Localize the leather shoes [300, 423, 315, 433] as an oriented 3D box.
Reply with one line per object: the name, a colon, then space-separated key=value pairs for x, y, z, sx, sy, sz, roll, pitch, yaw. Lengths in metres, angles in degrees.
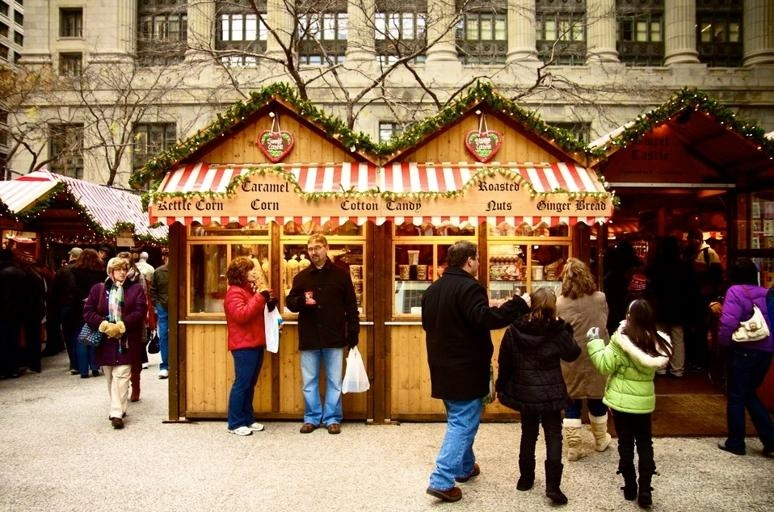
leather shoes: x=-1.841 y=4.025 z=21.732 sx=0.384 sy=0.222 sz=0.163 roll=-1 pitch=-1 yaw=-6

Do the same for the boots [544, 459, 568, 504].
boots: x=3.798 y=4.850 z=19.912 sx=0.471 sy=1.018 sz=0.222 roll=-1 pitch=-2 yaw=2

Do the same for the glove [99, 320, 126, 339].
glove: x=-6.556 y=1.713 z=21.709 sx=0.630 sy=0.411 sz=0.153 roll=-1 pitch=-1 yaw=-18

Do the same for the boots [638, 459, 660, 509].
boots: x=5.842 y=4.904 z=19.963 sx=0.560 sy=1.034 sz=0.341 roll=0 pitch=-2 yaw=-42

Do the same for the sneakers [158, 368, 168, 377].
sneakers: x=-6.075 y=3.123 z=24.819 sx=0.223 sy=0.264 sz=0.627 roll=-1 pitch=-7 yaw=-12

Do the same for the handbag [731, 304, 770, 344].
handbag: x=8.467 y=1.543 z=20.903 sx=0.592 sy=0.809 sz=0.324 roll=-5 pitch=-8 yaw=8

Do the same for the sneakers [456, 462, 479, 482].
sneakers: x=1.883 y=4.785 z=20.373 sx=0.245 sy=0.281 sz=0.633 roll=5 pitch=10 yaw=37

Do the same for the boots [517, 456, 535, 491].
boots: x=3.185 y=4.752 z=20.186 sx=0.368 sy=0.688 sz=0.688 roll=0 pitch=-5 yaw=12

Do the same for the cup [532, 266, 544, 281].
cup: x=3.807 y=0.405 z=22.416 sx=0.301 sy=0.311 sz=0.313 roll=0 pitch=-3 yaw=0

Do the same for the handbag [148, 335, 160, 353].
handbag: x=-6.127 y=2.273 z=23.909 sx=0.260 sy=0.485 sz=0.164 roll=2 pitch=-5 yaw=-26
